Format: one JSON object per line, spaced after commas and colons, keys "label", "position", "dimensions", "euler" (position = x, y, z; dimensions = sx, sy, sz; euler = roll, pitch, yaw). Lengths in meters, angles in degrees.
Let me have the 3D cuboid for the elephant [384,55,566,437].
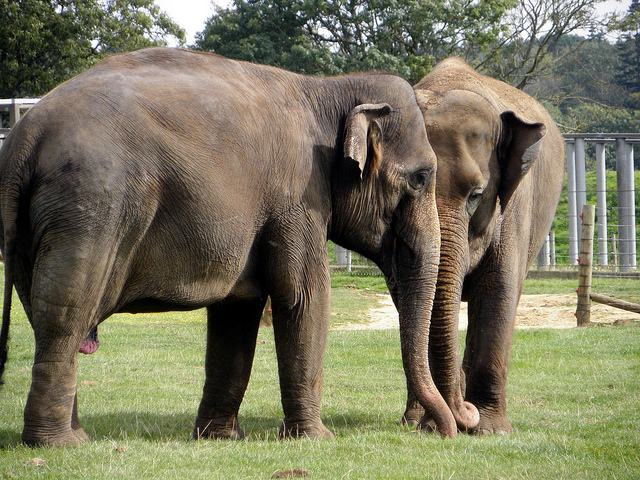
{"label": "elephant", "position": [1.736, 0.036, 13.638], "dimensions": [1.886, 3.946, 4.702], "euler": [3, 5, 17]}
